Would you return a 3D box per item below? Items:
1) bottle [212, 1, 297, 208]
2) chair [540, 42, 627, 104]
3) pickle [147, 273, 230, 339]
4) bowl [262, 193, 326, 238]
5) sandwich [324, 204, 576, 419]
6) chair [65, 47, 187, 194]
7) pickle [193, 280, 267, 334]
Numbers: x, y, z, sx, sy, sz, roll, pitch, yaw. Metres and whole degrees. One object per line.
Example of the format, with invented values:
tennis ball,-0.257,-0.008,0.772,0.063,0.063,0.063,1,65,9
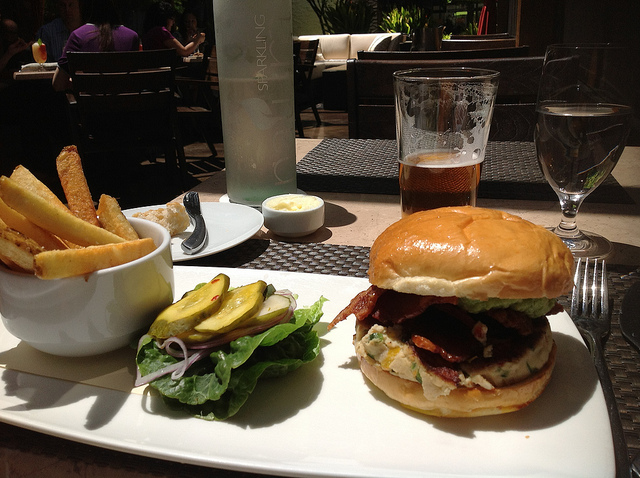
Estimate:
bottle,-0.195,-0.397,1.414,0.254,0.587,0.136,-5,26,-4
chair,0.616,-0.364,1.097,0.158,0.163,0.166,10,23,34
pickle,-0.243,0.115,0.867,0.094,0.029,0.176,11,22,23
bowl,-0.078,-0.066,1.385,0.189,0.105,0.183,-1,19,0
sandwich,0.227,0.164,0.835,0.361,0.261,0.308,-13,25,-16
chair,-1.373,-0.901,3.359,0.751,0.907,0.493,-17,29,-26
pickle,-0.156,0.125,0.844,0.095,0.046,0.141,6,29,17
